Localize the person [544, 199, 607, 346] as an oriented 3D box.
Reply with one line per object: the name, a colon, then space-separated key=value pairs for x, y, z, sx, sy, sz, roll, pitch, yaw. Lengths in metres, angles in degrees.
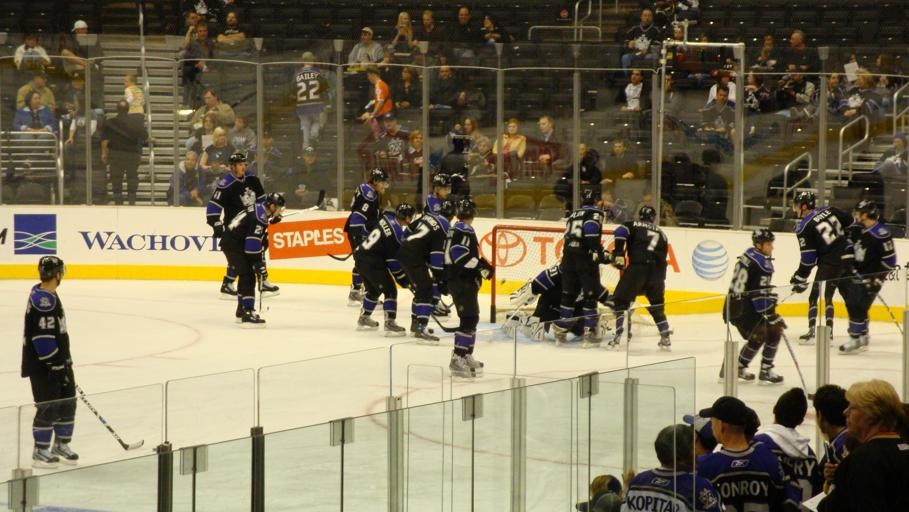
person: x=1.908 y=0.006 z=20.375 sx=0.756 sy=1.937 sz=0.531 roll=0 pitch=4 yaw=15

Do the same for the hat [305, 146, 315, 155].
hat: x=-2.570 y=-1.894 z=23.832 sx=0.173 sy=0.115 sz=0.061 roll=1 pitch=-2 yaw=10

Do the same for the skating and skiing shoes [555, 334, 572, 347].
skating and skiing shoes: x=1.297 y=1.019 z=16.145 sx=0.155 sy=0.114 sz=0.118 roll=-3 pitch=4 yaw=-2

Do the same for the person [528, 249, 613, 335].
person: x=1.772 y=0.599 z=20.688 sx=0.777 sy=1.168 sz=0.978 roll=1 pitch=0 yaw=-11

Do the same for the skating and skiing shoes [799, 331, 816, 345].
skating and skiing shoes: x=4.325 y=1.021 z=16.461 sx=0.234 sy=0.172 sz=0.125 roll=3 pitch=-2 yaw=4

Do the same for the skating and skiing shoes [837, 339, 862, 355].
skating and skiing shoes: x=4.860 y=1.122 z=16.456 sx=0.310 sy=0.097 sz=0.146 roll=-9 pitch=15 yaw=3

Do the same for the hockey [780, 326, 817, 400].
hockey: x=4.188 y=1.335 z=16.440 sx=0.373 sy=0.818 sz=0.337 roll=3 pitch=3 yaw=35

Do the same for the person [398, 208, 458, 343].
person: x=-0.429 y=0.280 z=20.314 sx=0.870 sy=1.981 sz=1.060 roll=-2 pitch=0 yaw=-16

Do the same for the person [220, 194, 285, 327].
person: x=-3.335 y=0.110 z=21.417 sx=0.699 sy=1.931 sz=0.393 roll=-2 pitch=4 yaw=-10

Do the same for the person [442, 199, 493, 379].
person: x=0.048 y=0.221 z=18.833 sx=0.856 sy=1.926 sz=0.897 roll=-2 pitch=3 yaw=-37

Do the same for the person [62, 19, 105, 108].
person: x=-6.949 y=-3.377 z=24.903 sx=0.828 sy=1.968 sz=0.858 roll=9 pitch=11 yaw=26

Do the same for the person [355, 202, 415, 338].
person: x=-1.131 y=0.204 z=21.213 sx=0.974 sy=1.969 sz=0.983 roll=0 pitch=0 yaw=24

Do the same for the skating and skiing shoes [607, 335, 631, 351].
skating and skiing shoes: x=1.898 y=0.999 z=15.658 sx=0.219 sy=0.179 sz=0.319 roll=-2 pitch=4 yaw=-12

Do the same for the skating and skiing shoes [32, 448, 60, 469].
skating and skiing shoes: x=-4.693 y=2.332 z=15.417 sx=0.296 sy=0.212 sz=0.373 roll=-2 pitch=4 yaw=-17

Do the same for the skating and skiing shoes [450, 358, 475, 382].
skating and skiing shoes: x=0.118 y=1.335 z=16.074 sx=0.294 sy=0.244 sz=0.491 roll=0 pitch=4 yaw=13

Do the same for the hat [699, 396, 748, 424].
hat: x=2.993 y=1.698 z=14.802 sx=0.400 sy=0.179 sz=0.284 roll=13 pitch=11 yaw=34

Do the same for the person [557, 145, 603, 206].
person: x=2.134 y=-1.364 z=22.813 sx=0.799 sy=1.131 sz=0.528 roll=3 pitch=0 yaw=24

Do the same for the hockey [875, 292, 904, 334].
hockey: x=5.404 y=0.733 z=16.651 sx=0.735 sy=0.030 sz=0.107 roll=39 pitch=26 yaw=-6

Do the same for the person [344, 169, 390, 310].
person: x=-1.510 y=-0.305 z=21.960 sx=0.815 sy=2.165 sz=1.026 roll=-8 pitch=0 yaw=26
